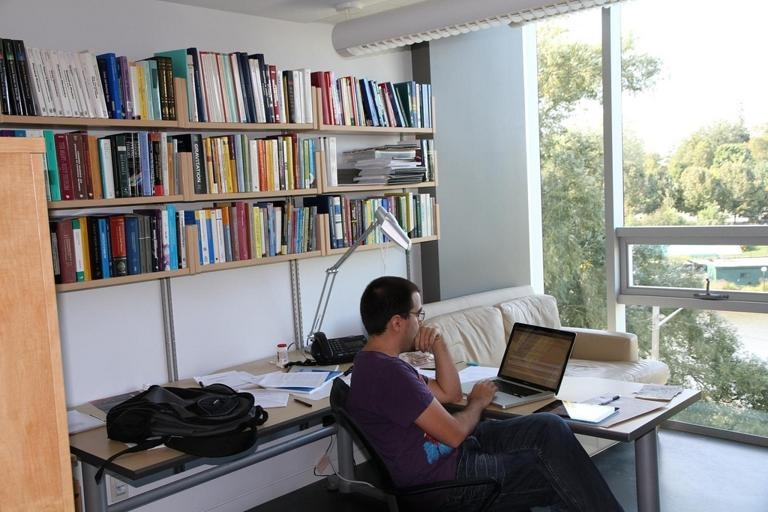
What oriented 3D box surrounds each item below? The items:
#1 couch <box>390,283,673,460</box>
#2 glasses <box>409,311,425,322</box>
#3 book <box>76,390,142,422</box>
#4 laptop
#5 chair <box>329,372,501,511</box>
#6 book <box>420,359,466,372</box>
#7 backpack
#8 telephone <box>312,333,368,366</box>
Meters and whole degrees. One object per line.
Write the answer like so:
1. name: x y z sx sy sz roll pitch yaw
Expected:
1. couch: 1.350 1.199 4.366 1.365 1.074 1.916 1 8 36
2. glasses: 0.166 0.293 2.647 0.082 0.022 0.076 -7 -4 15
3. book: -1.596 0.848 3.062 0.197 0.044 0.205 4 5 31
4. laptop: 0.757 0.608 2.936 0.361 0.463 0.460 11 1 -41
5. chair: 0.096 0.867 2.724 0.679 0.790 0.611 -8 5 -20
6. book: 0.389 0.704 3.455 0.156 0.036 0.163 0 2 27
7. backpack: -0.980 0.718 2.640 0.525 0.155 0.416 1 1 37
8. telephone: -0.349 0.578 3.624 0.305 0.098 0.237 -2 1 -39
